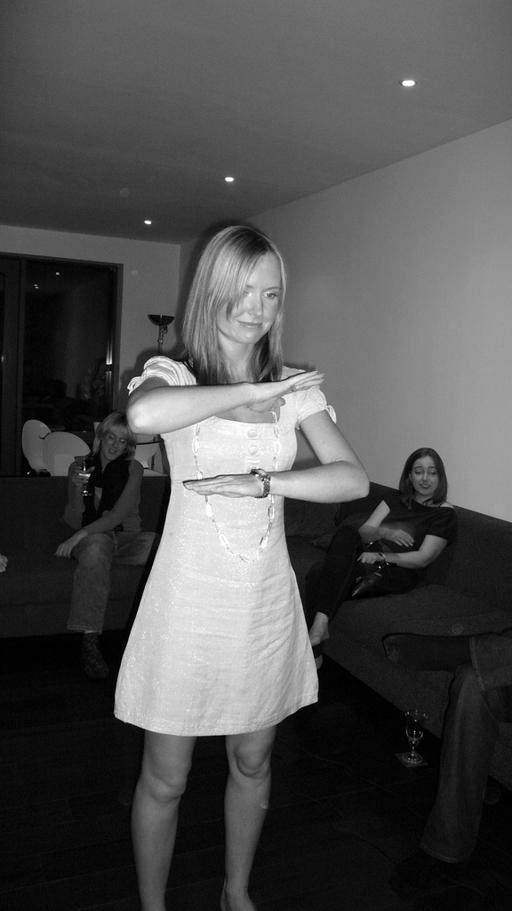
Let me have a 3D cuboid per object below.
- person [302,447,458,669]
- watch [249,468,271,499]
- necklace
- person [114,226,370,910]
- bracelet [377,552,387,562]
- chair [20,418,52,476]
[{"bbox_3d":[0.534,0.439,2.904,0.601,1.042,0.435,15,8,-27],"label":"person"},{"bbox_3d":[0.013,0.040,0.878,0.013,0.035,0.031,-29,34,12],"label":"watch"},{"bbox_3d":[-0.028,0.051,0.935,0.139,0.209,0.039,2,0,-32],"label":"necklace"},{"bbox_3d":[-0.039,0.279,1.039,0.362,1.070,0.437,2,0,-12],"label":"person"},{"bbox_3d":[0.558,0.446,2.792,0.023,0.036,0.011,-3,-6,8],"label":"bracelet"},{"bbox_3d":[-1.824,-0.079,5.261,0.210,0.562,0.349,3,6,-6],"label":"chair"}]
